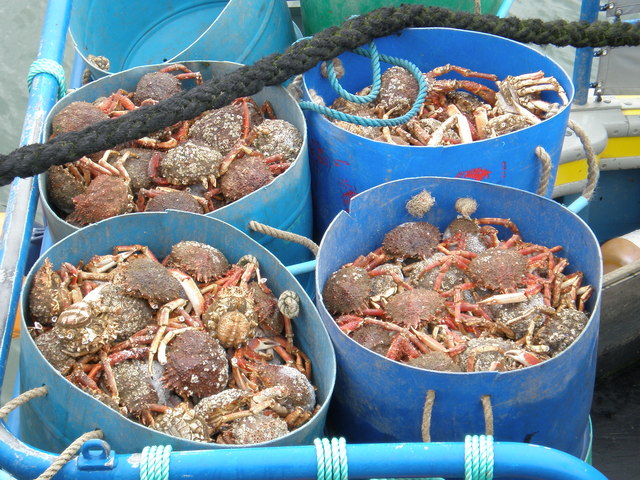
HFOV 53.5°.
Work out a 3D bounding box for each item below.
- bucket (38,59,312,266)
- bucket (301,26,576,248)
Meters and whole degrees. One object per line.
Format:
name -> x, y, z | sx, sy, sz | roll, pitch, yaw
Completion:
bucket -> -0.553, -0.315, 3.216 | 1.102, 1.074, 1.196 | -4, -25, -2
bucket -> 0.609, -0.419, 3.413 | 1.160, 1.277, 1.129 | -2, 49, 3
